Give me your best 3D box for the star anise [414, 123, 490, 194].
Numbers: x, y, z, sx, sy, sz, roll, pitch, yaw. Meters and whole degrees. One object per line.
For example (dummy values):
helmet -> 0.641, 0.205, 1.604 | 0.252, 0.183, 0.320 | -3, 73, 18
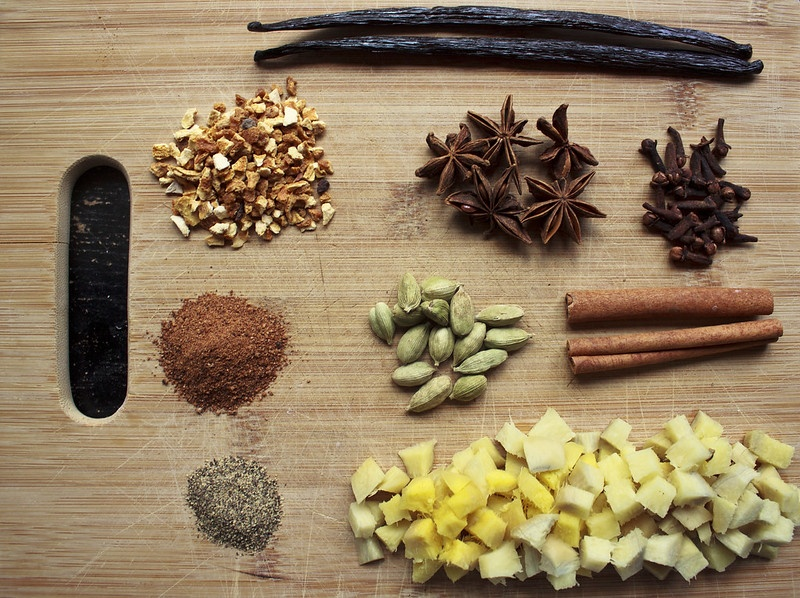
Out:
star anise -> 0.227, -0.593, 3.643 | 0.337, 0.293, 0.104 | -6, -3, 4

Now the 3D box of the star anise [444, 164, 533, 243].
star anise -> 0.410, -0.380, 3.658 | 0.408, 0.351, 0.139 | -10, 45, 26
